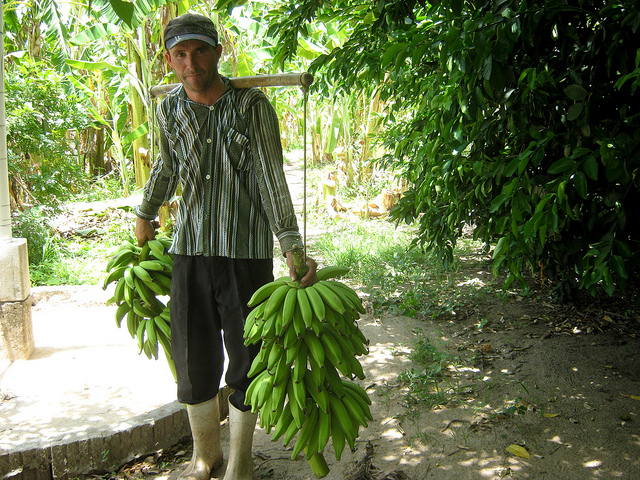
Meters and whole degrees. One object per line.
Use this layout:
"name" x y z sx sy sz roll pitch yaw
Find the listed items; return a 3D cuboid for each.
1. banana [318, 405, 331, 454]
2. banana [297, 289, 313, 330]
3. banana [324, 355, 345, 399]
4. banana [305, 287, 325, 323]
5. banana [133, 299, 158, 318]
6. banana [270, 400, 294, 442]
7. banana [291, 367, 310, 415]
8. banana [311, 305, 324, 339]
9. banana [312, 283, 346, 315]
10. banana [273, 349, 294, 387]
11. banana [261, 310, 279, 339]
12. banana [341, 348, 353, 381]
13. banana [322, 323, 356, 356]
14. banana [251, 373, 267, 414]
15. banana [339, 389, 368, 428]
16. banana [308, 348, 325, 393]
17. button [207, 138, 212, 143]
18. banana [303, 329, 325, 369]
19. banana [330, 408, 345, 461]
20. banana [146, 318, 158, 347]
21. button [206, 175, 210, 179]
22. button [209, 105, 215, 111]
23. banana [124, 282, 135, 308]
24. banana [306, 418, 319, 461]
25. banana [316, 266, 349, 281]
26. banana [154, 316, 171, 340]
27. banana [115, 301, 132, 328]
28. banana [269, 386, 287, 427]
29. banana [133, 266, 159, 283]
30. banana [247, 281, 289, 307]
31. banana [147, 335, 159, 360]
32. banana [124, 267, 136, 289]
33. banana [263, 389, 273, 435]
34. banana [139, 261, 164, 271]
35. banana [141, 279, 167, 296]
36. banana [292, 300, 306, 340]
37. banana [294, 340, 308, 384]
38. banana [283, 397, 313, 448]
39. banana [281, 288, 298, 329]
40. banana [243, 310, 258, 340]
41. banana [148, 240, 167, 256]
"banana" 0.022 1.020 2.860 0.052 0.267 0.092 3 -15 -8
"banana" -0.083 0.351 2.795 0.055 0.078 0.226 -5 48 -10
"banana" 0.073 0.748 2.905 0.068 0.281 0.088 -19 7 -25
"banana" -0.018 0.332 2.854 0.056 0.081 0.232 -10 43 -11
"banana" -1.198 0.469 3.659 0.135 0.136 0.118 -1 5 21
"banana" -0.199 0.993 2.931 0.075 0.275 0.096 26 -16 -3
"banana" -0.121 0.807 2.840 0.095 0.262 0.062 -11 -15 -19
"banana" -0.025 0.422 2.800 0.039 0.147 0.051 -18 -13 -7
"banana" 0.079 0.302 2.842 0.089 0.128 0.359 15 -18 -30
"banana" -0.202 0.680 2.804 0.060 0.225 0.078 15 -1 27
"banana" -0.261 0.441 2.799 0.052 0.155 0.043 21 -16 -3
"banana" 0.149 0.669 2.848 0.038 0.187 0.046 -19 4 28
"banana" 0.095 0.526 2.827 0.046 0.182 0.065 -45 11 -29
"banana" -0.349 0.863 3.003 0.077 0.234 0.065 14 -6 8
"banana" 0.190 0.921 2.956 0.069 0.266 0.096 -29 -18 -4
"banana" -0.038 0.677 2.862 0.056 0.256 0.088 -19 -9 34
"button" -0.636 -0.574 3.068 0.025 0.027 0.008 1 1 0
"banana" -0.026 0.553 2.852 0.061 0.236 0.080 -25 -26 -9
"banana" 0.088 1.045 2.877 0.073 0.249 0.144 -1 5 10
"banana" -1.147 0.632 3.670 0.052 0.202 0.065 -18 -15 31
"button" -0.648 -0.368 3.088 0.023 0.025 0.006 1 3 2
"button" -0.620 -0.759 3.060 0.028 0.030 0.007 0 -1 4
"banana" -1.271 0.372 3.594 0.050 0.192 0.069 3 12 17
"banana" -0.028 1.080 2.885 0.048 0.196 0.067 9 -12 2
"banana" 0.073 0.190 3.115 0.184 0.070 0.253 -2 4 0
"banana" -1.075 0.598 3.645 0.131 0.149 0.056 0 5 22
"banana" -1.399 0.508 3.804 0.083 0.228 0.061 22 3 14
"banana" -0.227 0.879 2.869 0.055 0.228 0.077 15 -2 -29
"banana" -1.154 0.224 3.541 0.059 0.075 0.200 -37 49 -24
"banana" -0.284 0.299 2.934 0.230 0.089 0.060 -25 12 -15
"banana" -1.164 0.753 3.721 0.044 0.172 0.069 -11 8 40
"banana" -1.262 0.252 3.535 0.030 0.094 0.114 -2 44 -32
"banana" -0.282 0.936 2.884 0.067 0.207 0.051 2 -9 16
"banana" -1.108 0.161 3.523 0.175 0.059 0.055 7 3 30
"banana" -1.098 0.316 3.547 0.151 0.118 0.090 -4 5 -19
"banana" -0.107 0.413 2.799 0.045 0.191 0.065 -2 -3 -5
"banana" -0.096 0.693 2.861 0.065 0.209 0.053 10 29 7
"banana" -0.114 0.976 2.874 0.074 0.303 0.107 32 -1 26
"banana" -0.147 0.361 2.841 0.048 0.079 0.223 3 49 7
"banana" -0.383 0.461 2.881 0.045 0.189 0.069 25 -19 -13
"banana" -1.083 0.045 3.548 0.143 0.047 0.074 41 57 20
